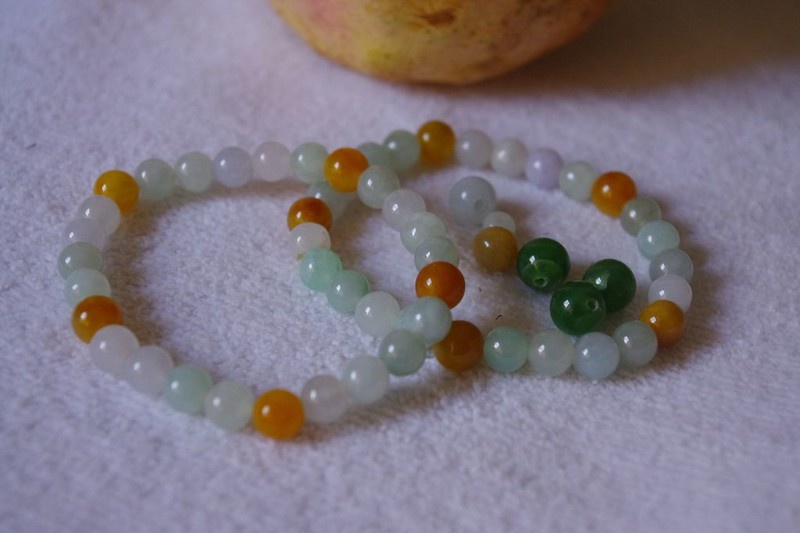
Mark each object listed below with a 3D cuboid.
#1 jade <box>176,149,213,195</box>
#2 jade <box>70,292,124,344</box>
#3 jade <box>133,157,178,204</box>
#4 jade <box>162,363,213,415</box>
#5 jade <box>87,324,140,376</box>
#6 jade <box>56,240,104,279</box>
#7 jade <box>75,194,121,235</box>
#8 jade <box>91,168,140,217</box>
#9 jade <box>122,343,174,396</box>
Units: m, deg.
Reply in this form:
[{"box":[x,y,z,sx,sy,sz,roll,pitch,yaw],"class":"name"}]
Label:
[{"box":[-0.387,-0.179,1.715,0.060,0.037,0.076,0,95,-9],"class":"jade"},{"box":[-0.521,0.106,1.572,0.084,0.091,0.118,11,84,-25],"class":"jade"},{"box":[-0.458,-0.162,1.718,0.067,0.071,0.089,-27,84,24],"class":"jade"},{"box":[-0.348,0.200,1.500,0.068,0.017,0.072,22,84,2],"class":"jade"},{"box":[-0.475,0.137,1.514,0.067,0.043,0.083,15,84,-5],"class":"jade"},{"box":[-0.557,-0.015,1.597,0.060,0.062,0.071,-22,80,0],"class":"jade"},{"box":[-0.540,-0.097,1.659,0.070,0.066,0.074,4,73,35],"class":"jade"},{"box":[-0.517,-0.141,1.693,0.078,0.072,0.091,-52,52,26],"class":"jade"},{"box":[-0.415,0.168,1.511,0.069,0.022,0.072,24,84,2],"class":"jade"}]
